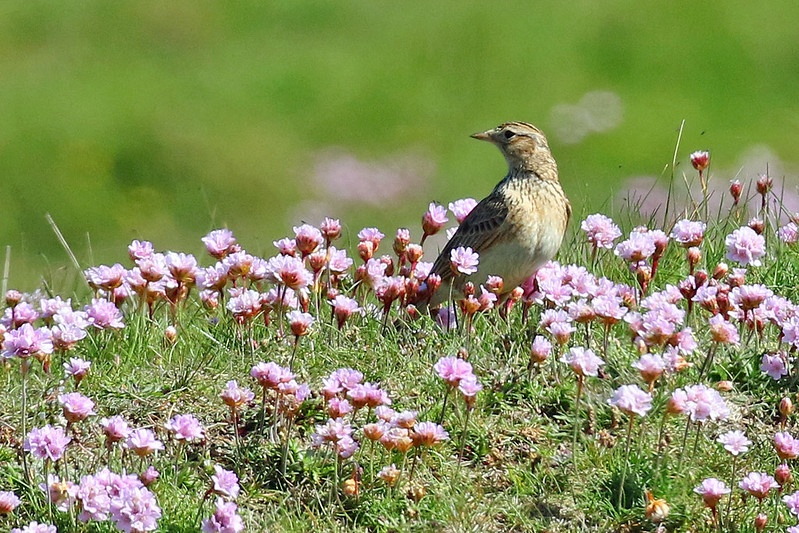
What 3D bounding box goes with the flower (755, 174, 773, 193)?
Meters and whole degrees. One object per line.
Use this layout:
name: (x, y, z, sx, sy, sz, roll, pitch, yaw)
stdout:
flower: (2.709, -0.615, 8.439, 0.158, 0.165, 0.160, 0, 11, 6)
